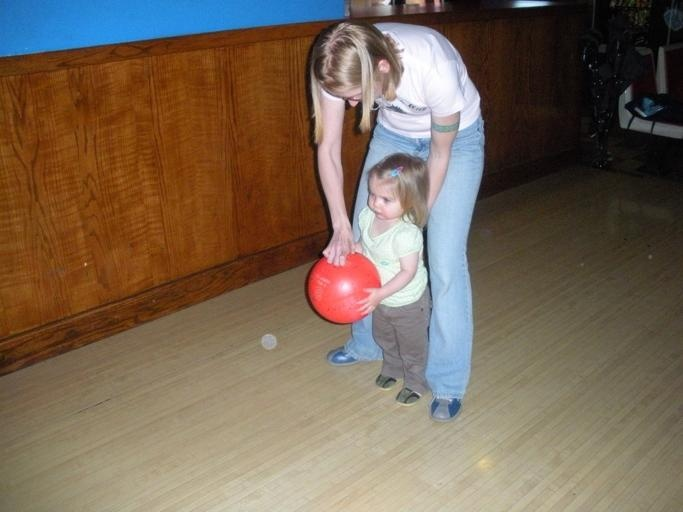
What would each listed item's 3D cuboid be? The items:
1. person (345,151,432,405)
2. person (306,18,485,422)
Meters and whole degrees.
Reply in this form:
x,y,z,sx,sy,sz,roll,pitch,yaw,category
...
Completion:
x,y,z,sx,sy,sz,roll,pitch,yaw,category
0.203,0.138,2.244,0.436,1.116,0.355,-14,23,-26,person
0.257,-0.129,2.192,0.788,1.677,0.578,10,34,18,person
